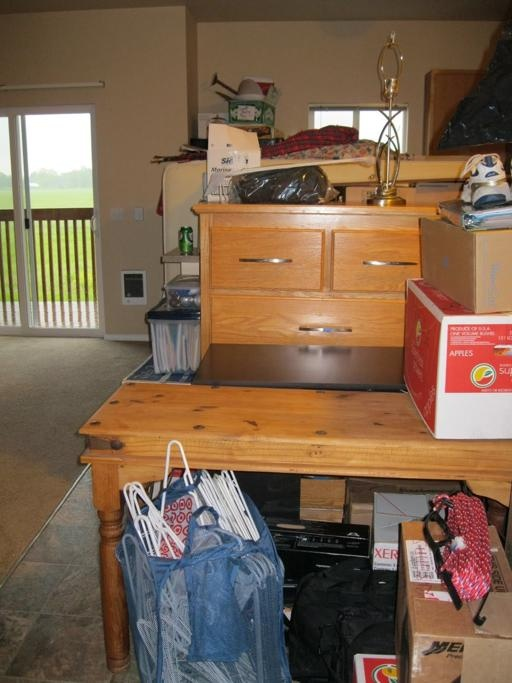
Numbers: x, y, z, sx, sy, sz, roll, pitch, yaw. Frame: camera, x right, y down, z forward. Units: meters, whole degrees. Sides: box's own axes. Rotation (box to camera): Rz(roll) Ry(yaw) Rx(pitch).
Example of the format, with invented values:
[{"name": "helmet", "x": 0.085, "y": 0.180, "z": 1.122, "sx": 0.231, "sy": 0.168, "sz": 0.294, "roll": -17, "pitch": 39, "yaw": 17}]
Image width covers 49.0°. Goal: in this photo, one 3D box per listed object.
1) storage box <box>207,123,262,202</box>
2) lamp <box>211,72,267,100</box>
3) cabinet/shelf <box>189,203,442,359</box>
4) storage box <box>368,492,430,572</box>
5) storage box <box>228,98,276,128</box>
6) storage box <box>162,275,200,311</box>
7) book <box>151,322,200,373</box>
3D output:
[{"name": "storage box", "x": -0.081, "y": -0.653, "z": 2.074, "sx": 0.206, "sy": 0.265, "sz": 0.160, "roll": -3, "pitch": 14, "yaw": -11}, {"name": "lamp", "x": -0.073, "y": -1.992, "z": 4.434, "sx": 0.566, "sy": 0.224, "sz": 0.389, "roll": -5, "pitch": 25, "yaw": -12}, {"name": "cabinet/shelf", "x": 0.181, "y": -0.186, "z": 1.628, "sx": 0.477, "sy": 0.424, "sz": 0.164, "roll": 0, "pitch": 12, "yaw": 1}, {"name": "storage box", "x": 0.351, "y": 0.474, "z": 1.391, "sx": 0.144, "sy": 0.175, "sz": 0.246, "roll": 0, "pitch": 14, "yaw": 9}, {"name": "storage box", "x": -0.020, "y": -1.786, "z": 4.412, "sx": 0.373, "sy": 0.205, "sz": 0.218, "roll": -3, "pitch": 14, "yaw": -11}, {"name": "storage box", "x": -0.236, "y": -0.135, "z": 1.814, "sx": 0.113, "sy": 0.073, "sz": 0.154, "roll": 0, "pitch": 16, "yaw": -2}, {"name": "book", "x": -0.236, "y": 0.012, "z": 1.659, "sx": 0.146, "sy": 0.146, "sz": 0.131, "roll": -2, "pitch": 14, "yaw": -9}]
